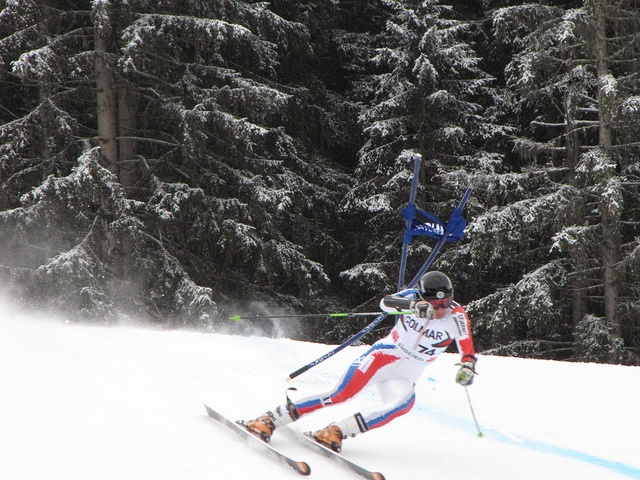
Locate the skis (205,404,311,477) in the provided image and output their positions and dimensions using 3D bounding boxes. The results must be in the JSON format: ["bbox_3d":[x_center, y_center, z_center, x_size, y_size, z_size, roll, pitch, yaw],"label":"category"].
[{"bbox_3d":[-1.023,3.351,16.487,1.568,0.247,0.173,39,20,22],"label":"skis"}]

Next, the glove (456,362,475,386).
[{"bbox_3d":[2.464,2.242,16.706,0.251,0.406,0.174,12,-4,2],"label":"glove"}]
